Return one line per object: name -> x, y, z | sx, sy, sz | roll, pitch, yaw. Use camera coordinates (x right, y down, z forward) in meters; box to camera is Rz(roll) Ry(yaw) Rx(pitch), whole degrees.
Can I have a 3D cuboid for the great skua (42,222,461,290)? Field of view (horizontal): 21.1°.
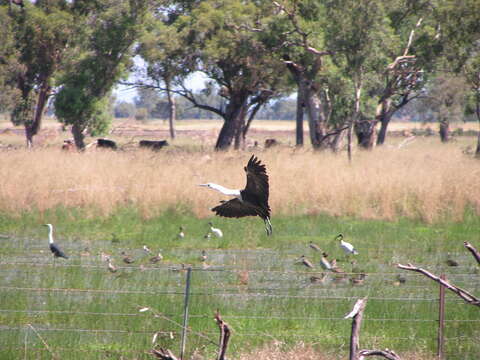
great skua -> -2.113, 3.461, 67.800 | 16.427, 2.325, 5.845 | 0, 2, -5
